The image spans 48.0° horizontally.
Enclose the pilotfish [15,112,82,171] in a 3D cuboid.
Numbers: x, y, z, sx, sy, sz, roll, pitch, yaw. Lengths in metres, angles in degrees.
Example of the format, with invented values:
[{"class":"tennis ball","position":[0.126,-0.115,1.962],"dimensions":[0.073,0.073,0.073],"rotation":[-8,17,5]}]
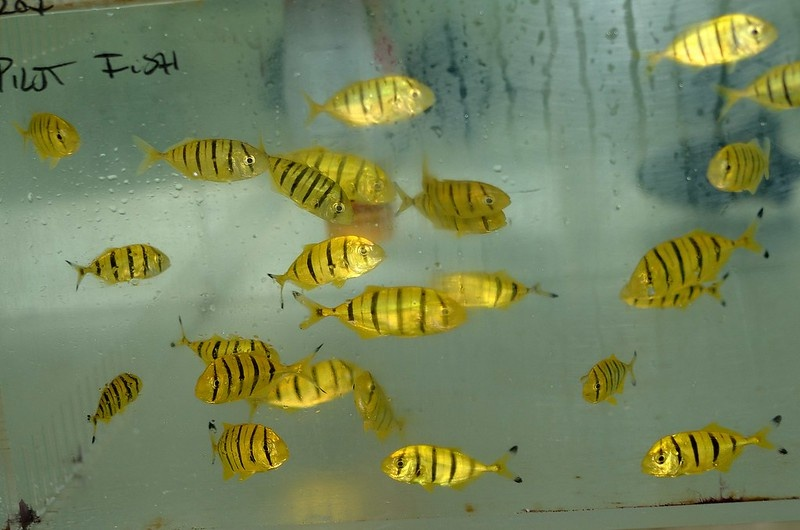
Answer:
[{"class":"pilotfish","position":[-1.373,-0.489,3.480],"dimensions":[0.321,0.194,0.065],"rotation":[5,18,27]}]

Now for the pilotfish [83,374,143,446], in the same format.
[{"class":"pilotfish","position":[-1.136,0.558,3.536],"dimensions":[0.226,0.264,0.089],"rotation":[-10,-18,28]}]

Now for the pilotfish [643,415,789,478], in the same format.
[{"class":"pilotfish","position":[1.163,0.699,3.404],"dimensions":[0.585,0.186,0.226],"rotation":[4,-16,-21]}]

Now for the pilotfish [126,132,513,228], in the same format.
[{"class":"pilotfish","position":[-0.280,-0.340,3.441],"dimensions":[1.084,0.204,0.176],"rotation":[10,8,-2]}]

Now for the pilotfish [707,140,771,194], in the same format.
[{"class":"pilotfish","position":[1.291,-0.358,3.399],"dimensions":[0.357,0.196,0.068],"rotation":[-10,21,-28]}]

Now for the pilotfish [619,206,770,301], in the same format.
[{"class":"pilotfish","position":[1.147,-0.036,3.430],"dimensions":[0.544,0.234,0.070],"rotation":[-24,31,-4]}]

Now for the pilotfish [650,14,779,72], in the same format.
[{"class":"pilotfish","position":[1.154,-0.825,3.407],"dimensions":[0.509,0.177,0.115],"rotation":[-4,3,34]}]

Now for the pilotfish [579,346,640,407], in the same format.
[{"class":"pilotfish","position":[0.809,0.434,3.487],"dimensions":[0.229,0.195,0.165],"rotation":[-4,-15,8]}]
